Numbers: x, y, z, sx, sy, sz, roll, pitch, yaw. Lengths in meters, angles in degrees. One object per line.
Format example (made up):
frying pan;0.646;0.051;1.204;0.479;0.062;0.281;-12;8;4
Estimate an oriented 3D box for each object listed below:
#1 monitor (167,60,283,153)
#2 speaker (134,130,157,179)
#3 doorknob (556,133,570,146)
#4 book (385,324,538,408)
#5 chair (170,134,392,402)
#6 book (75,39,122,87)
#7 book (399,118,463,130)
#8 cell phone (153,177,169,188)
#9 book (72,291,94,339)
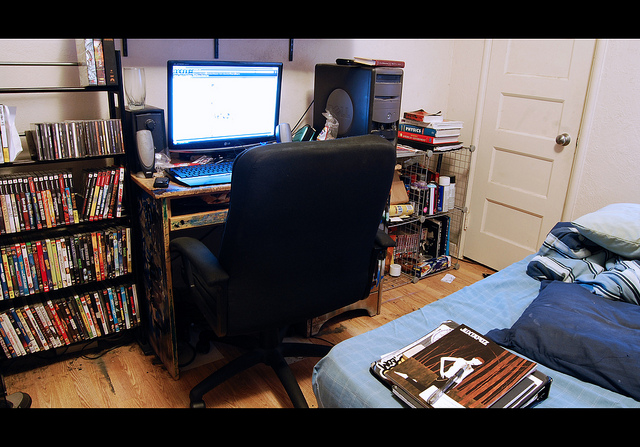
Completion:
monitor;-0.452;-0.581;2.099;0.720;0.446;0.076;-11;25;-39
speaker;-0.772;-0.307;1.918;0.095;0.199;0.082;-12;17;-38
doorknob;1.438;-0.500;2.604;0.021;0.067;0.069;-4;-3;-10
book;0.375;0.384;1.166;0.370;0.043;0.241;-17;28;-36
chair;-0.193;0.170;1.831;0.863;1.041;0.827;0;14;-13
book;-0.924;-0.650;1.778;0.197;0.172;0.113;10;25;21
book;0.687;-0.629;2.791;0.199;0.037;0.191;-16;27;-37
cell phone;-0.641;-0.164;1.776;0.051;0.020;0.074;-3;23;-9
book;-1.054;0.409;1.961;0.036;0.150;0.151;-29;-3;-24
